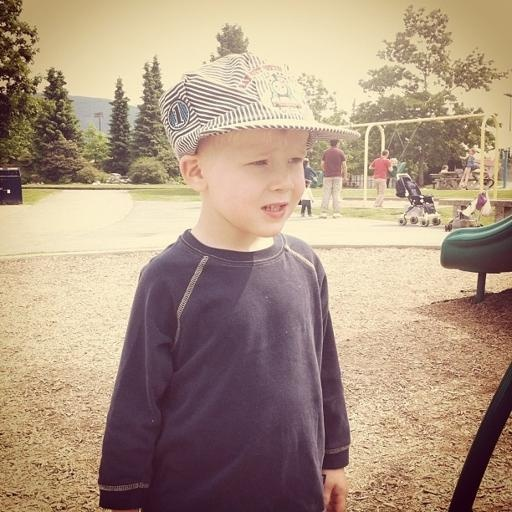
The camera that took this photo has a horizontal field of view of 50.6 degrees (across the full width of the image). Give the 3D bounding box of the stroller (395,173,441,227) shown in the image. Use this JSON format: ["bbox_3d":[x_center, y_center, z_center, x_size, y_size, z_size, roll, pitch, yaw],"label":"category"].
[{"bbox_3d":[3.576,-1.213,11.952,1.010,1.138,1.881,9,6,13],"label":"stroller"}]

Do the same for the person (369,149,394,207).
[{"bbox_3d":[3.696,-2.362,16.107,0.941,1.978,0.766,0,1,-41],"label":"person"}]
